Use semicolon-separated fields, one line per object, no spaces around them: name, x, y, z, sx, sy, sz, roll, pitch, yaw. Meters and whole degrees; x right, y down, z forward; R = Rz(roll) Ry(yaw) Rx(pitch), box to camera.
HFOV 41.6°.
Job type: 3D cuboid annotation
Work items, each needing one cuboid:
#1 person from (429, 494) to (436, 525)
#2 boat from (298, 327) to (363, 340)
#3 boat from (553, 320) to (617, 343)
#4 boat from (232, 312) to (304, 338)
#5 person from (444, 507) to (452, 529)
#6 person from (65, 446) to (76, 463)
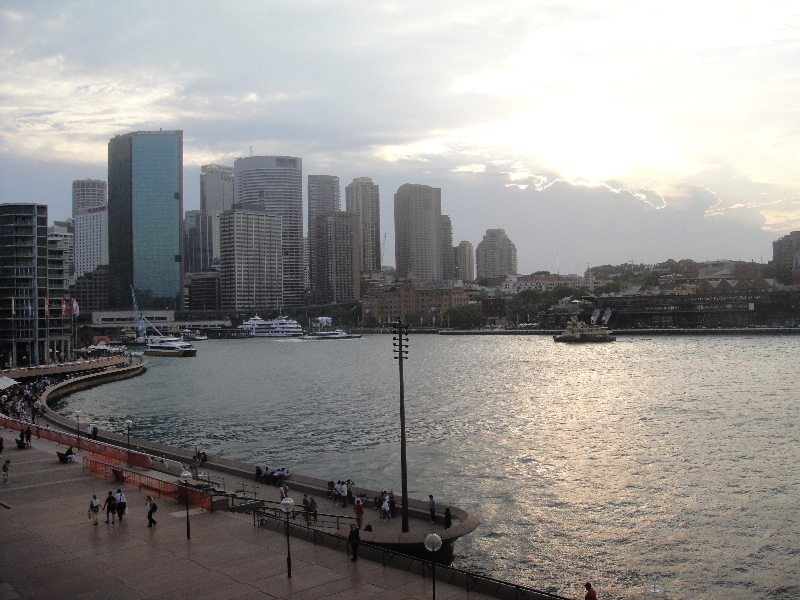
person;2.295;14.581;73.121;0.569;1.561;1.516;0;0;3
boat;-22.718;11.270;352.970;12.556;2.815;3.183;-2;6;-10
boat;43.670;7.700;249.010;12.533;5.060;7.578;0;0;36
boat;-44.254;9.633;361.250;7.538;6.765;37.918;0;0;-30
person;3.279;14.812;71.566;0.494;1.186;1.587;0;0;4
person;-26.485;12.463;84.459;0.675;1.217;1.202;0;0;-13
